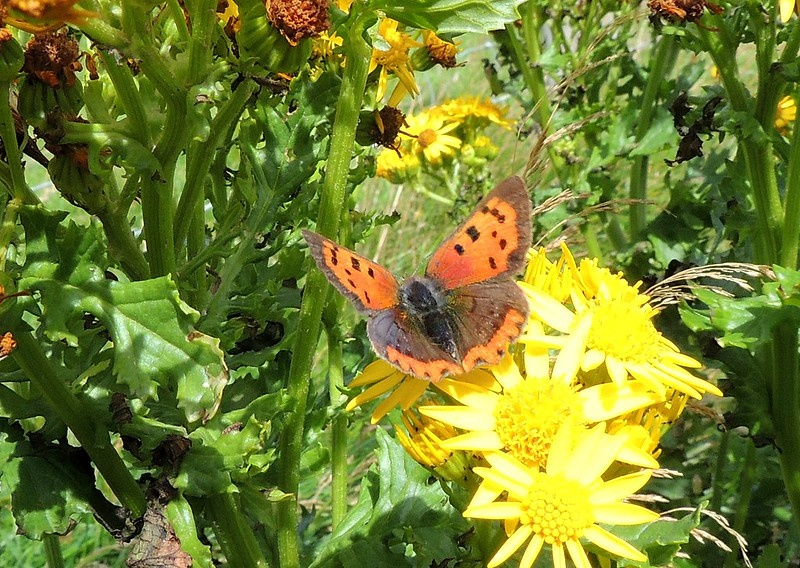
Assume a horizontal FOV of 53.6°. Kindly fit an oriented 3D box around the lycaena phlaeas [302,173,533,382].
[{"bbox_3d":[0.065,-0.102,1.789,0.565,0.400,0.294,-15,13,2],"label":"lycaena phlaeas"}]

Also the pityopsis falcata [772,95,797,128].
[{"bbox_3d":[1.149,-0.509,2.364,0.048,0.111,0.101,6,24,24],"label":"pityopsis falcata"}]
